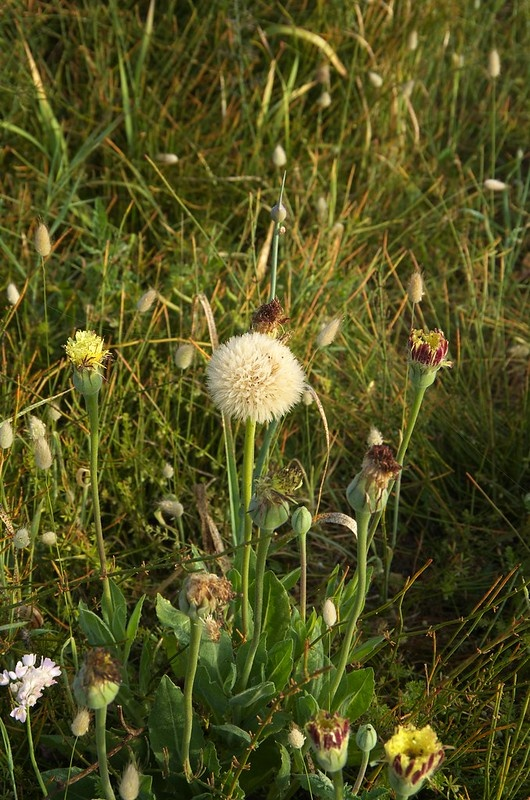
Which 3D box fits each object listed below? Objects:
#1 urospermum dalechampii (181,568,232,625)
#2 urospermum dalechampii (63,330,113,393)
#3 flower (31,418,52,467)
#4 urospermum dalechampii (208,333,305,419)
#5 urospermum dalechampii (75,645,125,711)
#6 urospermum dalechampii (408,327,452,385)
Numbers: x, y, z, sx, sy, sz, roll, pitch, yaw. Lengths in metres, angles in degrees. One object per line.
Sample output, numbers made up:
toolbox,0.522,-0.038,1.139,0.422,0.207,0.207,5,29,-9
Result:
urospermum dalechampii,-0.077,0.249,0.941,0.067,0.071,0.081,-2,39,-11
urospermum dalechampii,-0.271,-0.057,1.139,0.067,0.094,0.070,-2,15,-18
flower,-0.399,0.072,1.295,0.034,0.036,0.117,-2,65,-22
urospermum dalechampii,0.000,-0.038,1.124,0.133,0.141,0.152,-8,-1,35
urospermum dalechampii,-0.191,0.334,0.890,0.057,0.070,0.070,-2,12,-14
urospermum dalechampii,0.272,-0.068,1.248,0.070,0.093,0.067,-3,22,-23
